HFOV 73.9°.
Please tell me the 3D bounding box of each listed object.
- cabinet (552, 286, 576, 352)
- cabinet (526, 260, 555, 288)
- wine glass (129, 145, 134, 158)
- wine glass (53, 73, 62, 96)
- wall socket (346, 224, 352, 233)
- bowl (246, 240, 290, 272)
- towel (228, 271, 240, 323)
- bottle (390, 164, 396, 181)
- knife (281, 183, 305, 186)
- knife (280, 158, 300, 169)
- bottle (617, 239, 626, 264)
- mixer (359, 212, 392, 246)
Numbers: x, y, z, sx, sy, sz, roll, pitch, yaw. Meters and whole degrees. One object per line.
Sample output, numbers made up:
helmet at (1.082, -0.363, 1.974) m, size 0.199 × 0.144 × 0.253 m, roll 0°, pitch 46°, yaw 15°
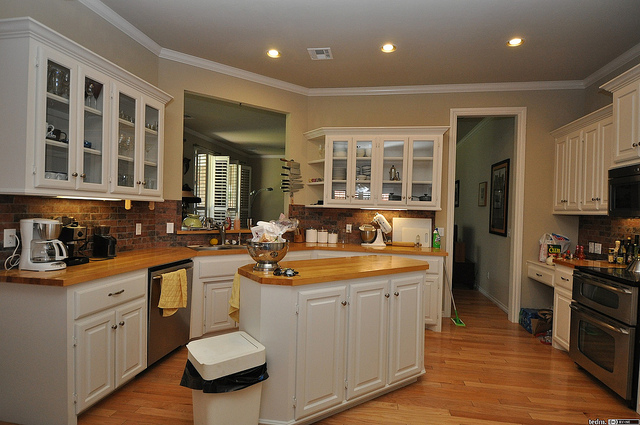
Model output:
cabinet at (3.005, 1.290, 5.261) m, size 0.211 × 0.558 × 0.316 m, roll 3°, pitch 3°, yaw 12°
cabinet at (3.124, 0.821, 5.831) m, size 0.247 × 0.244 × 0.698 m, roll -2°, pitch 5°, yaw -3°
wine glass at (-2.126, -0.699, 4.798) m, size 0.028 × 0.131 × 0.069 m, roll 6°, pitch 15°, yaw 17°
wine glass at (-2.533, -1.252, 4.091) m, size 0.031 × 0.201 × 0.088 m, roll 3°, pitch 14°, yaw 8°
wall socket at (0.463, 0.241, 6.623) m, size 0.129 × 0.170 × 0.018 m, roll 0°, pitch -2°, yaw 4°
bowl at (-0.516, 0.402, 4.116) m, size 0.326 × 0.206 × 0.347 m, roll 0°, pitch -2°, yaw 0°
towel at (-0.863, 0.842, 4.274) m, size 0.108 × 0.554 × 0.231 m, roll -4°, pitch 15°, yaw -18°
bottle at (1.072, -0.589, 6.180) m, size 0.081 × 0.221 × 0.075 m, roll 1°, pitch 14°, yaw 0°
knife at (-0.413, -0.444, 6.550) m, size 0.346 × 0.058 × 0.062 m, roll -5°, pitch 15°, yaw -23°
knife at (-0.481, -0.754, 6.487) m, size 0.169 × 0.177 × 0.417 m, roll 9°, pitch 16°, yaw 28°
bottle at (3.586, 0.493, 5.027) m, size 0.084 × 0.205 × 0.130 m, roll 11°, pitch 17°, yaw 32°
mixer at (0.861, 0.232, 6.267) m, size 0.502 × 0.483 × 0.305 m, roll 0°, pitch 7°, yaw 33°
